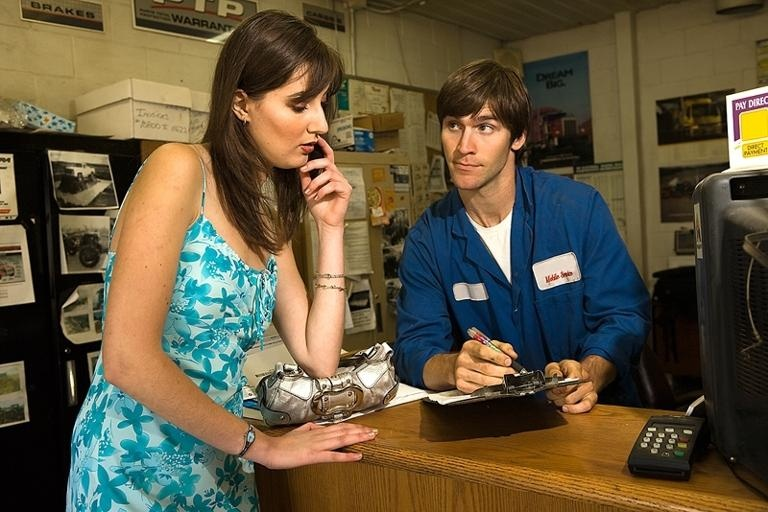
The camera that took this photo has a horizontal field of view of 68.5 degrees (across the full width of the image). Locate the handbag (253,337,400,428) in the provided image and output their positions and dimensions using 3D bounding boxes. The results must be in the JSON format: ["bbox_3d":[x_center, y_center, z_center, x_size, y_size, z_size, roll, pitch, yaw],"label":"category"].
[{"bbox_3d":[-0.181,0.355,1.721,0.310,0.128,0.230,-9,-2,-21],"label":"handbag"}]

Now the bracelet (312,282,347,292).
[{"bbox_3d":[-0.182,0.100,1.886,0.096,0.024,0.093,4,3,-42],"label":"bracelet"}]

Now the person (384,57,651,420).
[{"bbox_3d":[0.430,-0.107,2.041,0.903,1.205,0.831,5,15,33],"label":"person"}]
